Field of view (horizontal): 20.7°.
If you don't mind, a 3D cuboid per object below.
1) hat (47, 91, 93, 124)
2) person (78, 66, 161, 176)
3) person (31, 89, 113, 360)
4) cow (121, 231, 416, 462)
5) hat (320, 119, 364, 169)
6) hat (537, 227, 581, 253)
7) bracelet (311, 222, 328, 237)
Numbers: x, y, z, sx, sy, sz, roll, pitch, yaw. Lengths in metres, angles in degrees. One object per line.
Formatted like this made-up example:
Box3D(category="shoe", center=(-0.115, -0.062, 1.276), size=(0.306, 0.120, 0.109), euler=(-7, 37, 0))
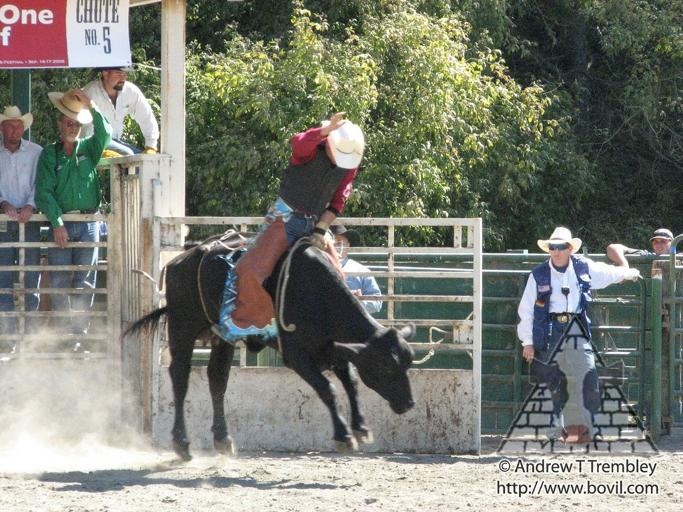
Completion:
Box3D(category="hat", center=(-3.739, -2.064, 25.754), size=(0.593, 0.469, 0.492), euler=(0, 0, -9))
Box3D(category="person", center=(-3.083, -1.962, 26.469), size=(1.327, 1.659, 1.163), euler=(-7, 15, -42))
Box3D(category="person", center=(-3.706, -0.499, 25.712), size=(1.026, 3.574, 0.651), euler=(0, 0, -8))
Box3D(category="cow", center=(-0.715, 1.197, 24.288), size=(3.553, 2.953, 0.901), euler=(1, 0, 36))
Box3D(category="hat", center=(0.027, -1.466, 24.039), size=(0.462, 0.648, 0.230), euler=(-2, -6, -29))
Box3D(category="hat", center=(3.035, -0.286, 25.594), size=(0.410, 0.195, 0.480), euler=(-2, -25, 12))
Box3D(category="bracelet", center=(-0.279, -0.359, 24.263), size=(0.196, 0.204, 0.186), euler=(18, -6, -36))
